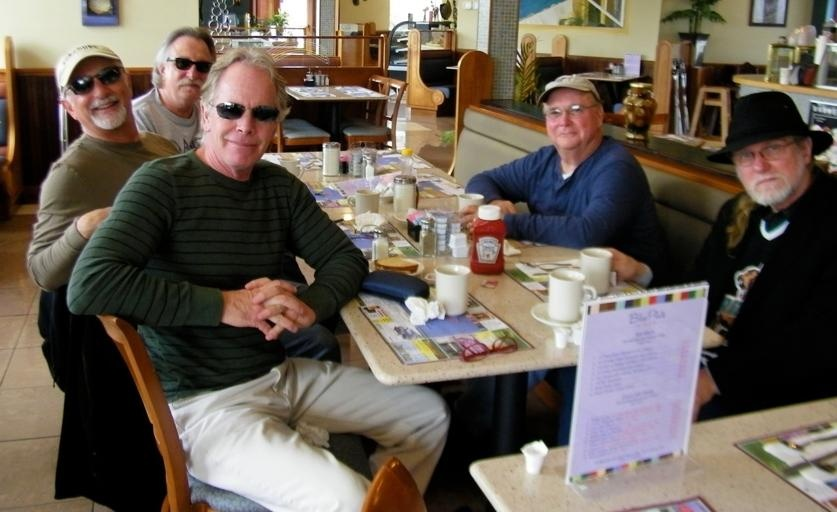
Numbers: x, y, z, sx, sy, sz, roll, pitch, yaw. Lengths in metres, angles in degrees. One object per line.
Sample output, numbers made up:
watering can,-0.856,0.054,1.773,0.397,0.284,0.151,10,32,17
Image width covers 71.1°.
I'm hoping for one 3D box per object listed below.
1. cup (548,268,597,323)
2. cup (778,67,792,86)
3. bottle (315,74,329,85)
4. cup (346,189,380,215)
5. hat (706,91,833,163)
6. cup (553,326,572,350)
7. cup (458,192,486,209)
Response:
cup,0.554,0.166,2.126,0.199,0.137,0.116,1,4,-10
cup,3.633,-1.794,5.810,0.098,0.170,0.163,5,19,20
bottle,-1.273,-2.316,7.691,0.188,0.148,0.091,-3,16,-16
cup,-0.282,-0.281,3.045,0.135,0.140,0.163,0,14,-2
hat,1.473,-0.515,2.475,0.353,0.174,0.367,-14,-1,41
cup,0.492,0.279,2.015,0.068,0.052,0.063,0,4,0
cup,0.270,-0.280,2.961,0.101,0.068,0.097,0,11,0
